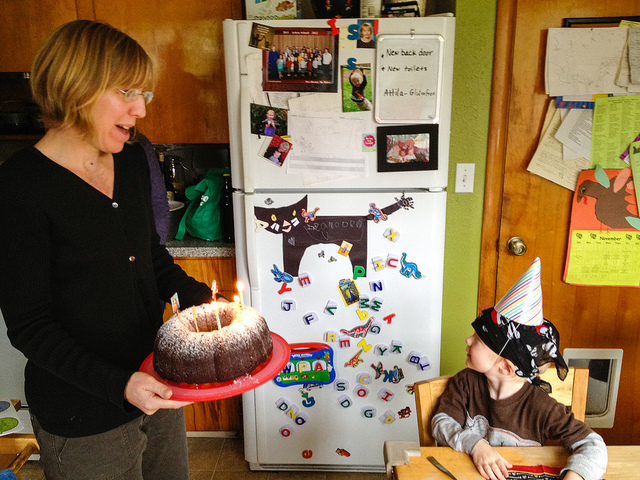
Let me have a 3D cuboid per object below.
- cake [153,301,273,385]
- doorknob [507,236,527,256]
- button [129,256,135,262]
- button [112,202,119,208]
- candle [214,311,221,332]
[{"bbox_3d":[-0.330,0.297,1.562,0.341,0.132,0.370,8,20,34],"label":"cake"},{"bbox_3d":[0.958,0.025,2.493,0.092,0.087,0.090,9,14,5],"label":"doorknob"},{"bbox_3d":[-0.586,0.058,1.563,0.004,0.019,0.020,4,11,22],"label":"button"},{"bbox_3d":[-0.621,-0.107,1.517,0.019,0.019,0.006,-1,0,-17],"label":"button"},{"bbox_3d":[-0.305,0.232,1.490,0.015,0.070,0.101,-3,11,-12],"label":"candle"}]
